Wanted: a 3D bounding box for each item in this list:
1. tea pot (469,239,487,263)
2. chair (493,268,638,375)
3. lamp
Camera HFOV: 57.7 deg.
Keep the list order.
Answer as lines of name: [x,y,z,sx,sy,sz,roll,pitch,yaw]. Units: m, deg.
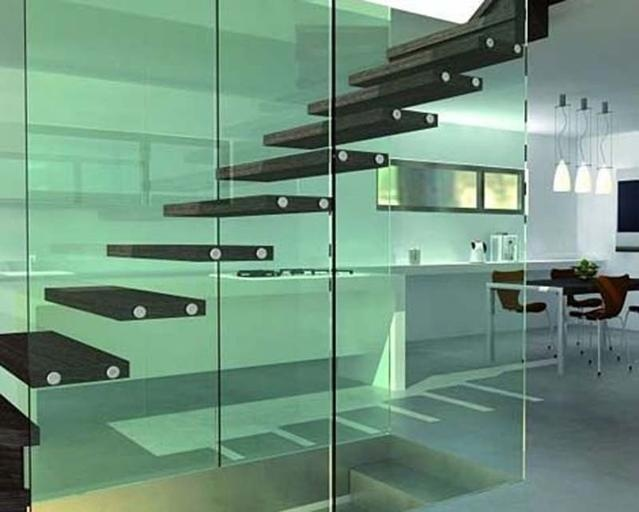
tea pot: [0.772,-0.022,2.812,0.074,0.108,0.193,0,2,15]
chair: [2.658,0.689,6.025,1.224,0.559,0.627,0,0,-34]
lamp: [3.670,-1.555,8.034,1.093,1.289,0.350,-1,1,-41]
